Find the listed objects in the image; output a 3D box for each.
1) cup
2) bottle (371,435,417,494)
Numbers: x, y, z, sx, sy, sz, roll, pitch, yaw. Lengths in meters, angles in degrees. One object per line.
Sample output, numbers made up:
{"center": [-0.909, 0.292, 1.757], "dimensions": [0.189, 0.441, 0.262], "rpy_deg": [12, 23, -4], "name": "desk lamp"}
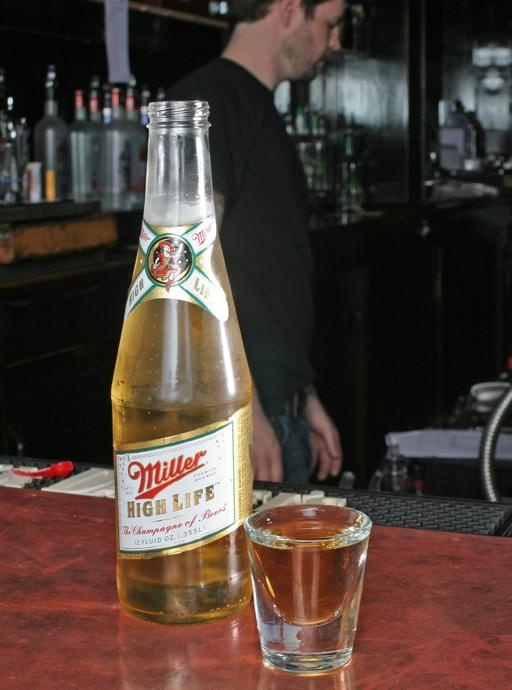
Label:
{"center": [0.021, 0.091, 0.287], "dimensions": [0.057, 0.056, 0.055], "rpy_deg": [0, 0, 0], "name": "cup"}
{"center": [0.203, 0.176, 1.062], "dimensions": [0.064, 0.087, 0.024], "rpy_deg": [0, 1, 10], "name": "bottle"}
